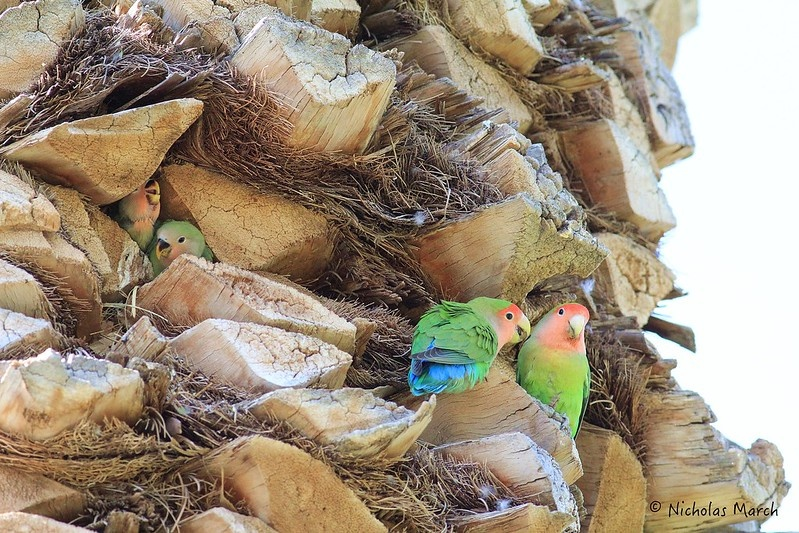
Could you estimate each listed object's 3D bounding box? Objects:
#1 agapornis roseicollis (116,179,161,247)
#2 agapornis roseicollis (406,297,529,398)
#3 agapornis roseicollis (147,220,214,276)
[{"bbox_3d":[-1.436,-0.329,7.679,0.267,0.321,0.180,32,-17,-14],"label":"agapornis roseicollis"},{"bbox_3d":[0.375,0.443,7.611,0.602,0.448,0.411,7,-11,-34],"label":"agapornis roseicollis"},{"bbox_3d":[-1.242,-0.147,7.679,0.262,0.333,0.248,12,-37,27],"label":"agapornis roseicollis"}]
